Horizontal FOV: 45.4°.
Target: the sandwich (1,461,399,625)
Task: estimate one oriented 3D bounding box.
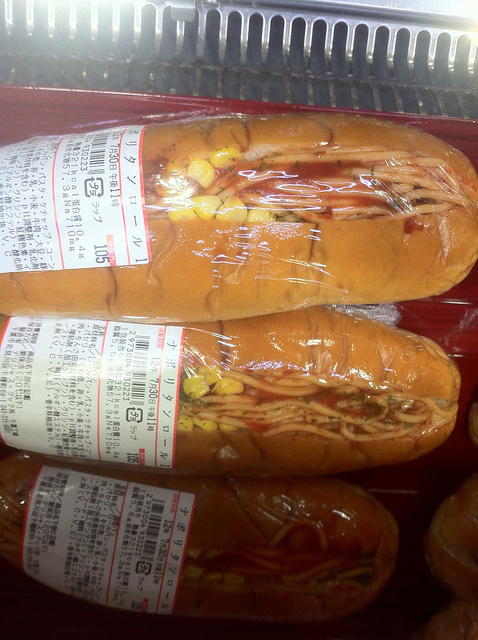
[{"bbox_3d":[-0.024,0.186,0.522,0.404,0.108,0.112,3,11,-1],"label":"sandwich"}]

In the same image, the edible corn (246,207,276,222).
[{"bbox_3d":[0.016,-0.075,0.409,0.016,0.010,0.008,-1,-14,1],"label":"edible corn"}]

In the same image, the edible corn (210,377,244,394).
[{"bbox_3d":[-0.007,0.050,0.425,0.022,0.011,0.006,-1,11,-7],"label":"edible corn"}]

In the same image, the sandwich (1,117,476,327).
[{"bbox_3d":[-0.001,-0.072,0.409,0.361,0.135,0.097,-1,7,-3],"label":"sandwich"}]

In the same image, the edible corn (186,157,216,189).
[{"bbox_3d":[-0.026,-0.104,0.404,0.019,0.020,0.009,-21,12,7],"label":"edible corn"}]

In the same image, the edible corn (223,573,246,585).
[{"bbox_3d":[-0.004,0.207,0.457,0.018,0.008,0.003,2,-1,-8],"label":"edible corn"}]

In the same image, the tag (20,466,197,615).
[{"bbox_3d":[-0.098,0.174,0.465,0.156,0.099,0.037,4,-12,23],"label":"tag"}]

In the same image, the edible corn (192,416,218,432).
[{"bbox_3d":[-0.025,0.079,0.432,0.021,0.007,0.009,17,-30,0],"label":"edible corn"}]

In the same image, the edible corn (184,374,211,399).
[{"bbox_3d":[-0.032,0.049,0.423,0.021,0.013,0.009,8,7,-17],"label":"edible corn"}]

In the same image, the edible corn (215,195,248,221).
[{"bbox_3d":[-0.005,-0.080,0.406,0.019,0.017,0.008,30,-4,-10],"label":"edible corn"}]

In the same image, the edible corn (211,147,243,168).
[{"bbox_3d":[-0.008,-0.116,0.405,0.019,0.012,0.009,-5,20,-8],"label":"edible corn"}]

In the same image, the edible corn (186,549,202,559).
[{"bbox_3d":[-0.036,0.185,0.453,0.009,0.007,0.002,-9,9,-9],"label":"edible corn"}]

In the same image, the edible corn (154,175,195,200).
[{"bbox_3d":[-0.045,-0.093,0.403,0.026,0.013,0.005,5,3,-3],"label":"edible corn"}]

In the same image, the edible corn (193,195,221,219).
[{"bbox_3d":[-0.022,-0.080,0.404,0.019,0.015,0.009,-2,18,-2],"label":"edible corn"}]
